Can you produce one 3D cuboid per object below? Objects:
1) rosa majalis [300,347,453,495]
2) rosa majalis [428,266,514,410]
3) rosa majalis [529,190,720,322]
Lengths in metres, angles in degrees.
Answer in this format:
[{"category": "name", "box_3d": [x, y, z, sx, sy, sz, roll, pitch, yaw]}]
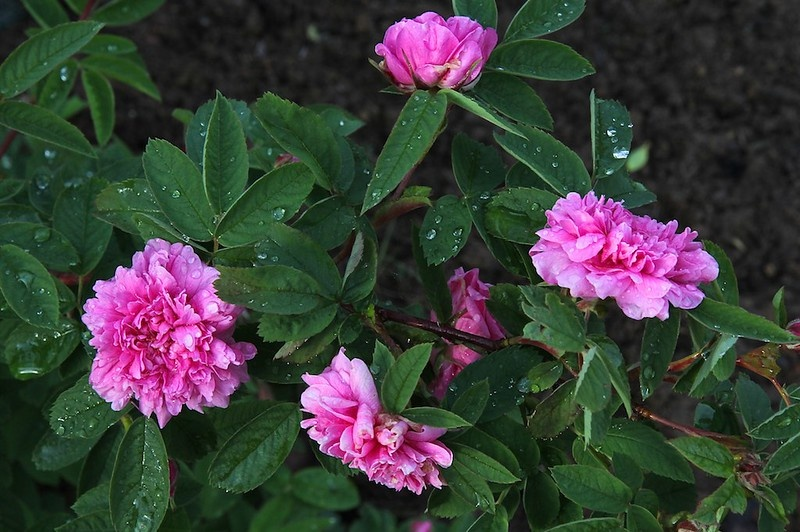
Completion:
[{"category": "rosa majalis", "box_3d": [-0.066, 0.392, 1.877, 0.403, 0.204, 0.186, 26, 54, 13]}, {"category": "rosa majalis", "box_3d": [0.180, 0.156, 2.091, 0.307, 0.281, 0.141, 64, 24, 6]}, {"category": "rosa majalis", "box_3d": [0.563, -0.015, 1.966, 0.488, 0.298, 0.365, 5, 30, 7]}]
